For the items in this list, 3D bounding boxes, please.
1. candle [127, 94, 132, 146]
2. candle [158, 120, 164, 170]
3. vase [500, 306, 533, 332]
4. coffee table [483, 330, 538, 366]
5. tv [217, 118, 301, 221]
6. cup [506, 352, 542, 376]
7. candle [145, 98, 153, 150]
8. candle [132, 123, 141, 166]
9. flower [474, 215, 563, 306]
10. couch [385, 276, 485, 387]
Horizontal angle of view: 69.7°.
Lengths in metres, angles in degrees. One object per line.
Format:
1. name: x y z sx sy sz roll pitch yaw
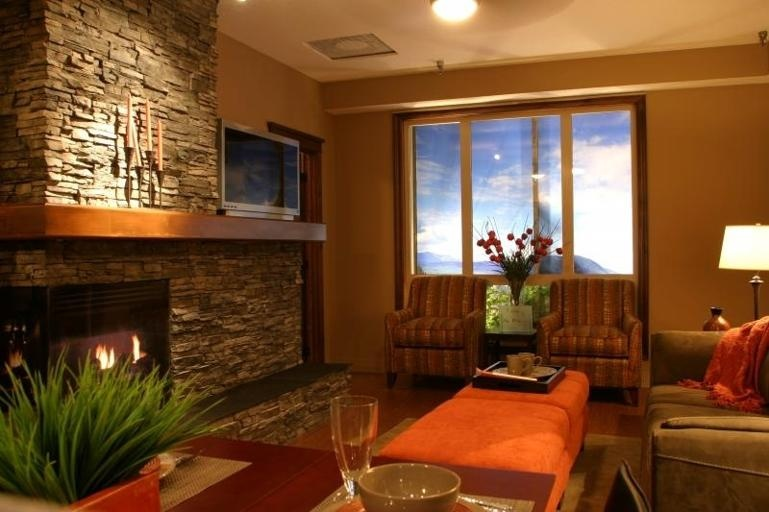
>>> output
1. candle: -1.468 -0.771 3.175 0.035 0.237 0.139 -2 1 -24
2. candle: -1.379 -0.689 3.394 0.045 0.253 0.238 -2 1 -21
3. vase: 1.278 0.594 5.343 0.310 0.242 0.237 -1 1 8
4. coffee table: 1.226 0.889 5.449 0.524 0.505 0.406 0 3 3
5. tv: -0.956 -0.631 4.148 0.108 0.718 1.034 -3 -4 32
6. cup: 0.852 0.666 3.415 0.170 0.120 0.117 0 -1 16
7. candle: -1.421 -0.787 3.336 0.035 0.248 0.236 -2 1 -23
8. candle: -1.447 -0.639 3.236 0.046 0.198 0.150 -2 1 -23
9. flower: 1.359 0.071 5.766 0.805 0.937 0.869 -3 -7 40
10. couch: 0.516 0.654 5.320 0.987 1.320 1.069 -2 -13 17
